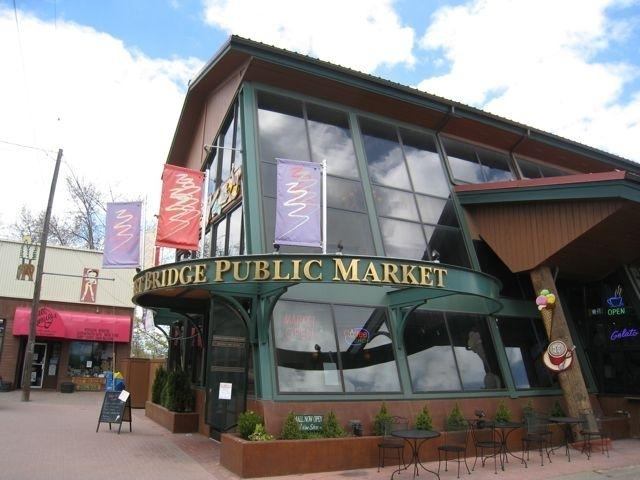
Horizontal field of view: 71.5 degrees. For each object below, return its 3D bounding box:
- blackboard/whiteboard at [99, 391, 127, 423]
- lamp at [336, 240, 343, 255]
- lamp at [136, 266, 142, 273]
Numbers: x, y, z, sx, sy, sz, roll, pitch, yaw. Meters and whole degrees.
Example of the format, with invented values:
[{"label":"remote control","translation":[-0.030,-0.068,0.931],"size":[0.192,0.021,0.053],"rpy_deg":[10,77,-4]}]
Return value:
[{"label":"blackboard/whiteboard","translation":[-6.463,5.232,13.946],"size":[0.807,0.942,0.829],"rpy_deg":[1,-20,-10]},{"label":"lamp","translation":[0.566,0.220,12.818],"size":[0.285,0.450,0.368],"rpy_deg":[3,-22,-1]},{"label":"lamp","translation":[-5.290,0.832,13.005],"size":[0.156,0.161,0.158],"rpy_deg":[11,12,-4]}]
